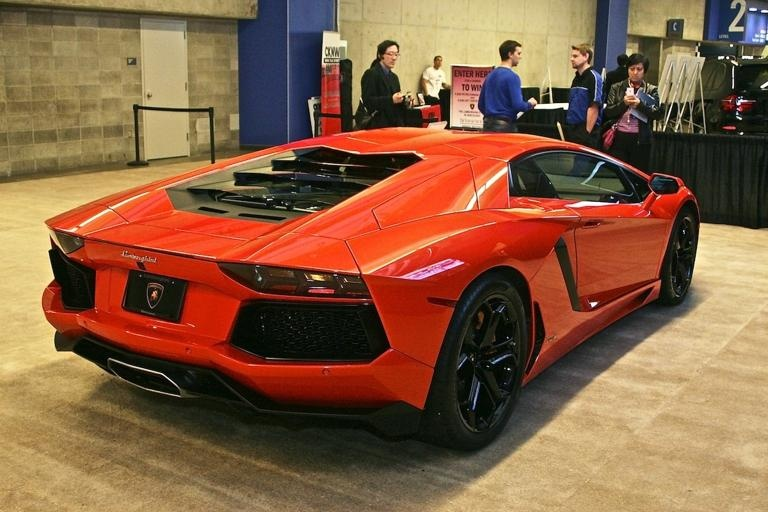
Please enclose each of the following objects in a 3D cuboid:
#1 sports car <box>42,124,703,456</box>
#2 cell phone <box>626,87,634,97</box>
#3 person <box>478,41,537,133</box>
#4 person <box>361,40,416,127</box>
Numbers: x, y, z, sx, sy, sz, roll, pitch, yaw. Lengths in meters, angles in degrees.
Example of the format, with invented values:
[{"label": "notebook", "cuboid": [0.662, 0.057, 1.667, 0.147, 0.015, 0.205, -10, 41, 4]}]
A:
[{"label": "sports car", "cuboid": [0.505, -0.206, 4.691, 3.179, 1.170, 5.372, 8, 16, 38]}, {"label": "cell phone", "cuboid": [3.729, -2.528, 8.159, 0.111, 0.132, 0.163, 5, 16, 18]}, {"label": "person", "cuboid": [1.917, -2.697, 8.409, 0.855, 1.418, 0.864, 2, 16, 8]}, {"label": "person", "cuboid": [0.012, -2.909, 9.027, 0.811, 1.428, 0.932, 0, 16, -2]}]
